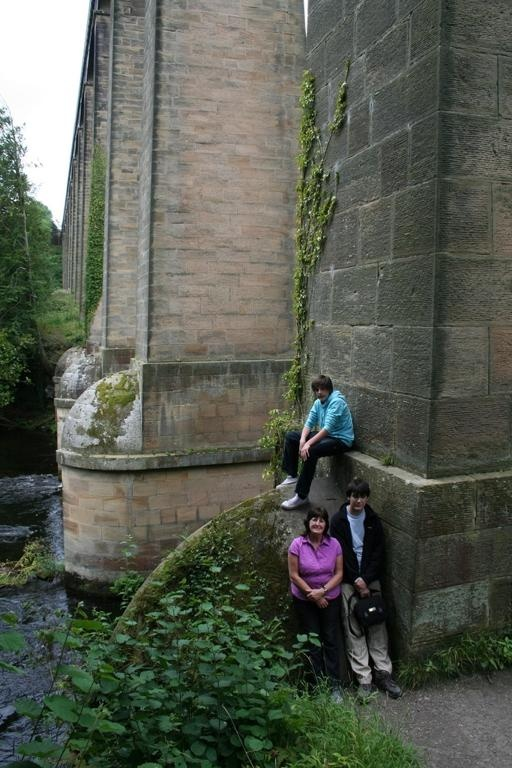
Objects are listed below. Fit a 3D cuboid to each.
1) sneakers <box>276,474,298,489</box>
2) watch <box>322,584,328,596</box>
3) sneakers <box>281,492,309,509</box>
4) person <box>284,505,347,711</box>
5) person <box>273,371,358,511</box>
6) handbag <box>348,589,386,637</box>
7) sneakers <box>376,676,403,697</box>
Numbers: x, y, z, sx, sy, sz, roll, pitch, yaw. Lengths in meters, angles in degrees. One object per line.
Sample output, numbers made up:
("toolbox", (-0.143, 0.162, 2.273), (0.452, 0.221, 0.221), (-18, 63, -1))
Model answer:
("sneakers", (0.250, 0.895, 5.961), (0.250, 0.100, 0.082), (-6, -4, -17))
("watch", (0.468, 1.390, 4.450), (0.034, 0.047, 0.047), (4, 2, 4))
("sneakers", (0.311, 0.968, 5.380), (0.251, 0.101, 0.089), (-15, 6, -26))
("person", (0.459, 1.412, 4.448), (0.390, 1.121, 0.631), (0, 0, -15))
("person", (0.482, 0.474, 5.961), (0.614, 1.095, 1.460), (0, 1, -3))
("handbag", (0.757, 1.575, 4.488), (0.241, 0.166, 0.308), (-13, 45, -16))
("sneakers", (0.869, 1.968, 4.297), (0.080, 0.097, 0.212), (0, 1, -24))
